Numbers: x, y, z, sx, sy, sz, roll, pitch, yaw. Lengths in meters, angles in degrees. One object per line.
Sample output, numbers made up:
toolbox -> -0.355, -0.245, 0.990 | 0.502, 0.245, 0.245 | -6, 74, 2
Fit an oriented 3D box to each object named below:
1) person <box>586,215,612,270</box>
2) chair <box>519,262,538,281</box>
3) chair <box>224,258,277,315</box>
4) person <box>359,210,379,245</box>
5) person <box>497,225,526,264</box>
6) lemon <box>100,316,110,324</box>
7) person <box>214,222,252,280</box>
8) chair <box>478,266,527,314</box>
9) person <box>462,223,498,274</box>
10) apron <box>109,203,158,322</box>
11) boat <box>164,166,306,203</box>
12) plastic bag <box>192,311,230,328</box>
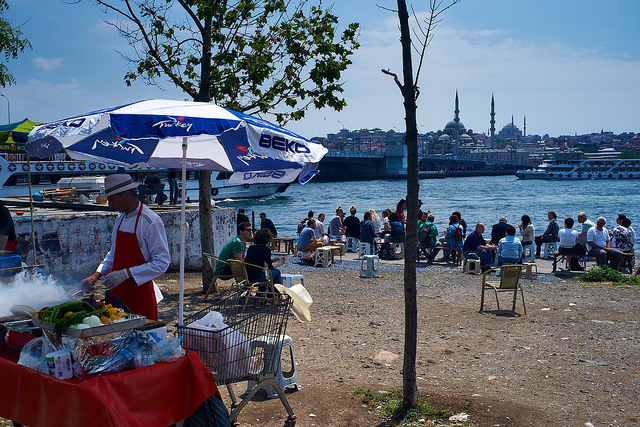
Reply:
person -> 7.723, 0.770, 21.182 | 0.640, 1.340, 1.048 | 5, 9, 20
chair -> 5.322, 1.504, 19.546 | 0.477, 0.384, 0.493 | -2, -5, 16
chair -> -1.239, 1.388, 15.204 | 1.007, 1.146, 1.028 | -9, 9, 1
person -> 1.579, 0.529, 24.284 | 0.737, 1.094, 0.753 | 1, -7, 3
person -> 4.901, 0.890, 19.686 | 0.729, 1.208, 0.714 | -2, 12, -8
lemon -> -2.661, 1.325, 9.474 | 0.088, 0.069, 0.067 | 33, 12, -7
person -> -1.769, 0.789, 16.182 | 0.806, 1.310, 0.922 | 5, -3, -4
chair -> 4.024, 1.605, 16.398 | 0.964, 1.048, 0.933 | -1, 0, -29
person -> 4.486, 0.897, 21.075 | 0.912, 1.339, 1.264 | 9, 11, 39
apron -> -2.664, 0.696, 10.949 | 0.637, 1.666, 0.304 | 1, 9, -10
boat -> -6.261, -2.350, 54.652 | 8.142, 2.085, 1.965 | -1, 13, 25
plastic bag -> -1.426, 1.415, 10.215 | 0.539, 0.160, 0.242 | 5, 9, 16
